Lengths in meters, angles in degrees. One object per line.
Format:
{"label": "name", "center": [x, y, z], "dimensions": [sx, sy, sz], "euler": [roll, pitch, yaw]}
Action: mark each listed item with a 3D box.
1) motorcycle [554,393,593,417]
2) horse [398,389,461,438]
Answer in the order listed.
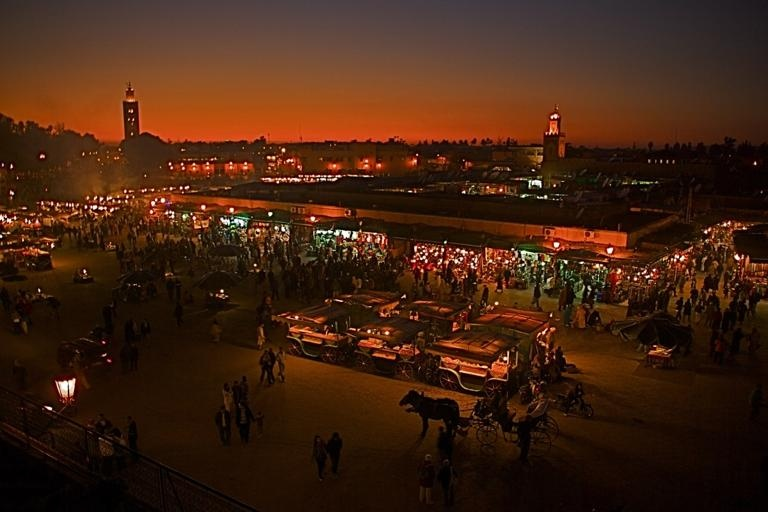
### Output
{"label": "motorcycle", "center": [5.721, 4.421, 18.159], "dimensions": [1.035, 0.628, 0.549], "euler": [3, 19, 20]}
{"label": "horse", "center": [1.338, 4.475, 16.979], "dimensions": [1.860, 1.193, 0.456], "euler": [-1, 2, 32]}
